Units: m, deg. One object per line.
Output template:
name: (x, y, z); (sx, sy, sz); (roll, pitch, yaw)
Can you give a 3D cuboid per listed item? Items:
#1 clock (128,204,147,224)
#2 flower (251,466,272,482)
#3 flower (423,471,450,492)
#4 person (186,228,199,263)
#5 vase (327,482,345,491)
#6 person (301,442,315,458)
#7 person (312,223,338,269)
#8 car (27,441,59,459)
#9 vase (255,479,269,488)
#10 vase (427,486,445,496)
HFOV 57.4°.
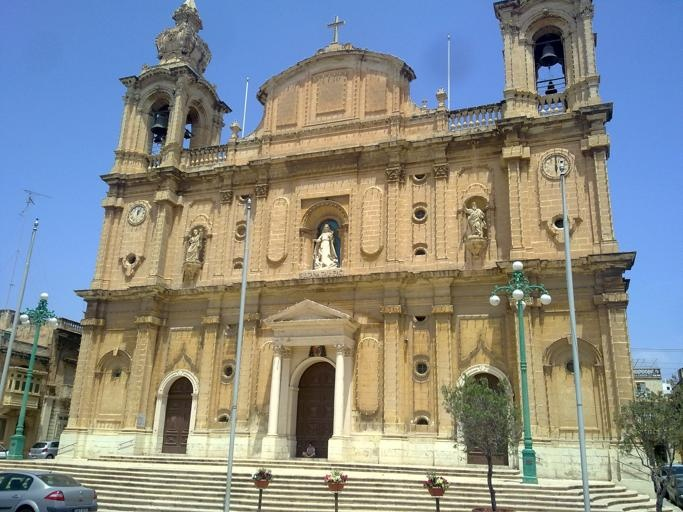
clock: (-13.468, -2.709, 41.085); (1.254, 1.311, 0.303); (8, -10, 30)
flower: (-3.016, 8.293, 23.765); (0.602, 0.428, 0.742); (0, -21, 2)
flower: (3.516, 8.281, 23.311); (1.091, 0.778, 1.002); (2, -20, -3)
person: (-9.363, -0.740, 39.205); (0.828, 2.458, 0.508); (-8, -22, 22)
vase: (-0.233, 8.710, 23.619); (0.514, 0.327, 0.575); (3, -21, -5)
person: (-1.785, 10.545, 34.075); (0.732, 0.861, 1.141); (2, -21, -4)
person: (-0.916, -0.516, 36.966); (1.507, 3.122, 1.049); (0, -20, 2)
car: (-20.284, 13.126, 42.303); (1.299, 1.191, 2.362); (-2, -15, 2)
vase: (-3.036, 8.559, 23.545); (0.449, 0.326, 0.527); (3, -21, -7)
vase: (3.482, 8.649, 22.989); (0.521, 0.318, 0.788); (-1, -21, 5)
